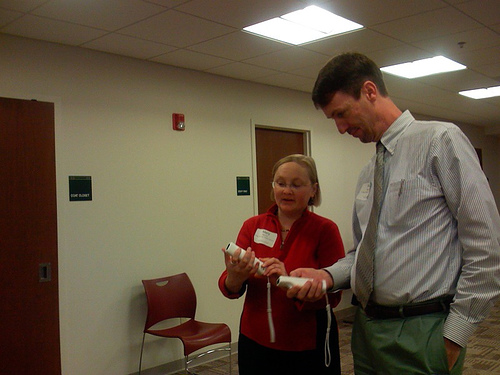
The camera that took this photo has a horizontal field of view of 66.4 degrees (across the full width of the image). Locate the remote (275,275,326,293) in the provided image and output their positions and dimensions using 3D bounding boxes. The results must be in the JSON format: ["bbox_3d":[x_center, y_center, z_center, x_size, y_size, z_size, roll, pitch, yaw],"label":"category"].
[{"bbox_3d":[0.249,0.455,1.807,0.175,0.063,0.052,6,-42,-6],"label":"remote"}]

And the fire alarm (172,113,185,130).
[{"bbox_3d":[-0.850,-0.776,4.492,0.021,0.222,0.184,-6,-6,43],"label":"fire alarm"}]

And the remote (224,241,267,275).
[{"bbox_3d":[-0.017,0.374,1.991,0.072,0.228,0.069,-42,12,41],"label":"remote"}]

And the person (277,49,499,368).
[{"bbox_3d":[0.669,0.103,1.652,0.683,1.439,0.261,-1,1,37],"label":"person"}]

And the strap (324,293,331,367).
[{"bbox_3d":[0.400,0.738,1.962,0.033,0.419,0.154,-1,1,11],"label":"strap"}]
